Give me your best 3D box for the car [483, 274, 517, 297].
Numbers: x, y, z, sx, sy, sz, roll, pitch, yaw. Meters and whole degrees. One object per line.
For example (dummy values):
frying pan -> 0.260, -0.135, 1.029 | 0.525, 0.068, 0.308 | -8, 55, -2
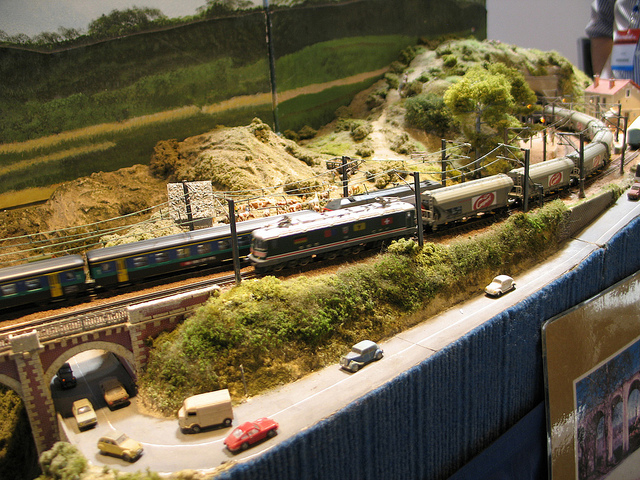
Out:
car -> 16.037, 3.944, 66.749 | 2.523, 1.195, 1.387 | -16, 20, -27

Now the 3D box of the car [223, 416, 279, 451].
car -> -5.152, 14.101, 55.821 | 3.617, 1.216, 1.940 | -24, 32, -24

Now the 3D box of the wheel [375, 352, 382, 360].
wheel -> 4.800, 9.273, 60.753 | 0.107, 0.450, 0.462 | 22, 17, 30

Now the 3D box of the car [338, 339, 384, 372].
car -> 3.285, 9.008, 60.642 | 3.185, 1.473, 1.942 | -16, 20, -25

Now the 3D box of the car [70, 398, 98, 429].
car -> -18.834, 13.309, 58.736 | 1.235, 0.961, 2.760 | -14, 21, -30

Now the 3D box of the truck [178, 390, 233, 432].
truck -> -8.969, 12.908, 57.538 | 3.695, 2.072, 2.310 | -2, 11, -13

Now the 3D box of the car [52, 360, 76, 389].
car -> -21.597, 10.668, 62.181 | 1.315, 1.670, 3.277 | -6, 27, -15

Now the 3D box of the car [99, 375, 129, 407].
car -> -16.857, 11.701, 60.158 | 1.417, 0.939, 2.955 | -13, 32, -23
